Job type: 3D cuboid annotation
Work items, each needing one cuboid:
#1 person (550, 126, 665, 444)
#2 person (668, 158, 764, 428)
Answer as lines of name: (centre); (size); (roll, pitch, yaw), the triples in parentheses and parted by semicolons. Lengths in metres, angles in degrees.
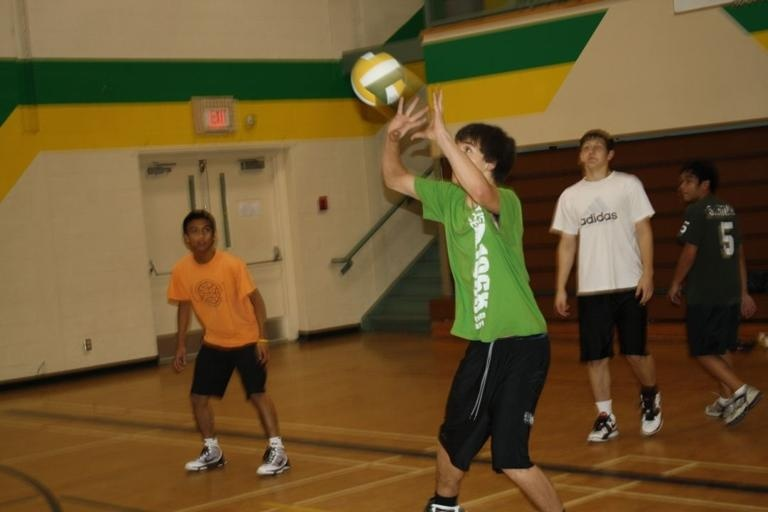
person: (2.031, 0.267, 5.558); (0.898, 2.850, 0.469); (-1, 5, 24)
person: (3.195, 0.329, 5.874); (0.734, 2.525, 0.850); (-1, 6, 28)
